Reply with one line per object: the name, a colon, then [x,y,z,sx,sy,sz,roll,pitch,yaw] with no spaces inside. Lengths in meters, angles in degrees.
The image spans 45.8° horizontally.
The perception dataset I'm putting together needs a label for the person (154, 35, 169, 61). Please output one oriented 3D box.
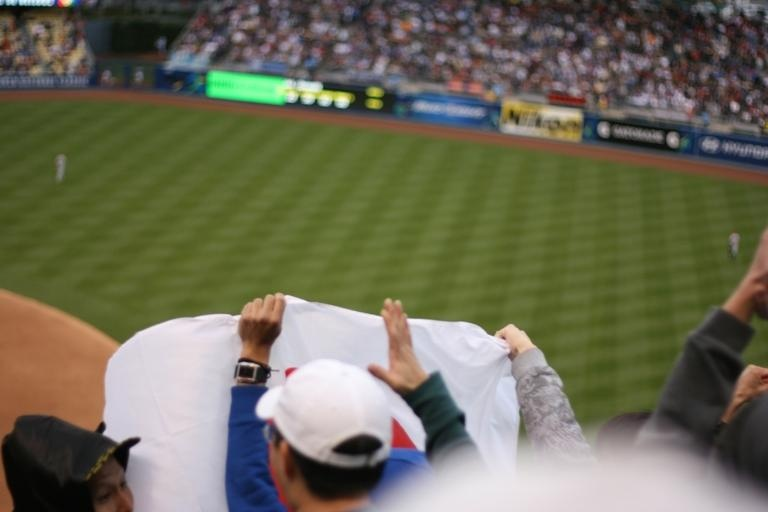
person: [-5.534,-5.132,22.622,0.471,0.210,0.718,3,70,-31]
